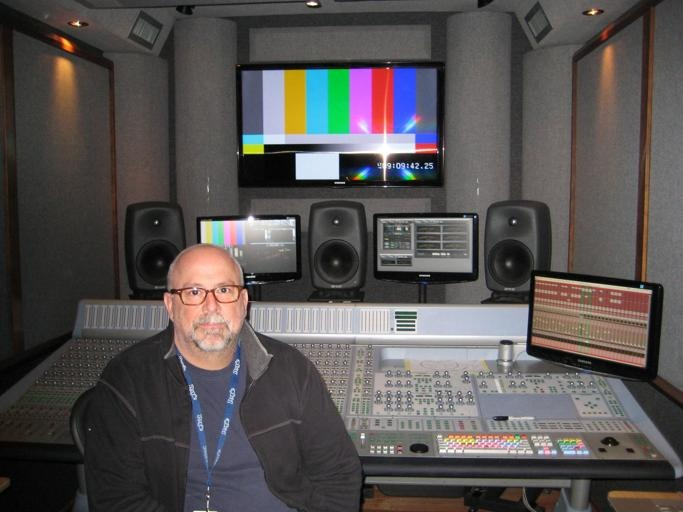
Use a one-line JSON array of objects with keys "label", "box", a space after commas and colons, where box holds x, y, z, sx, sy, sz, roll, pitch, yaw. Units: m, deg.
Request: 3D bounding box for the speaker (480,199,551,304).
[{"label": "speaker", "box": [1.089, -0.026, 3.377, 0.386, 0.624, 0.203, 2, 7, 16]}]

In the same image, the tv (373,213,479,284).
[{"label": "tv", "box": [0.595, -0.062, 3.887, 0.730, 0.487, 0.041, 2, 7, 15]}]
